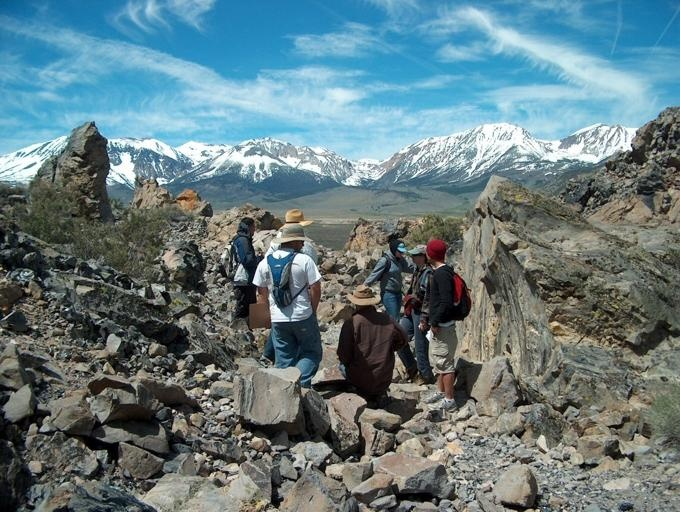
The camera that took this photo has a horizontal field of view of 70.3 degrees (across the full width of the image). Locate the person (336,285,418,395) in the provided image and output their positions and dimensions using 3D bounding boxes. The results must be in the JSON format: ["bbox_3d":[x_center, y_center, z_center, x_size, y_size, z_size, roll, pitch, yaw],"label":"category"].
[{"bbox_3d":[0.504,1.453,8.051,1.086,1.937,0.575,3,11,0],"label":"person"}]

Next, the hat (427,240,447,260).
[{"bbox_3d":[1.641,-0.127,8.388,0.291,0.298,0.359,2,18,-10],"label":"hat"}]

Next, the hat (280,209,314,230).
[{"bbox_3d":[-0.742,-0.647,8.170,0.461,0.191,0.494,1,5,11],"label":"hat"}]

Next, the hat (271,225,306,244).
[{"bbox_3d":[-0.800,-0.362,7.721,0.440,0.340,0.396,2,10,-3],"label":"hat"}]

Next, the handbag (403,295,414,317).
[{"bbox_3d":[1.358,0.981,9.653,0.134,0.359,0.286,5,12,-2],"label":"handbag"}]

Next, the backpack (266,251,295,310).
[{"bbox_3d":[-0.917,0.377,7.578,0.413,0.863,0.348,3,11,-3],"label":"backpack"}]

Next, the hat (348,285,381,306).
[{"bbox_3d":[0.395,0.651,8.020,0.532,0.363,0.383,6,11,16],"label":"hat"}]
